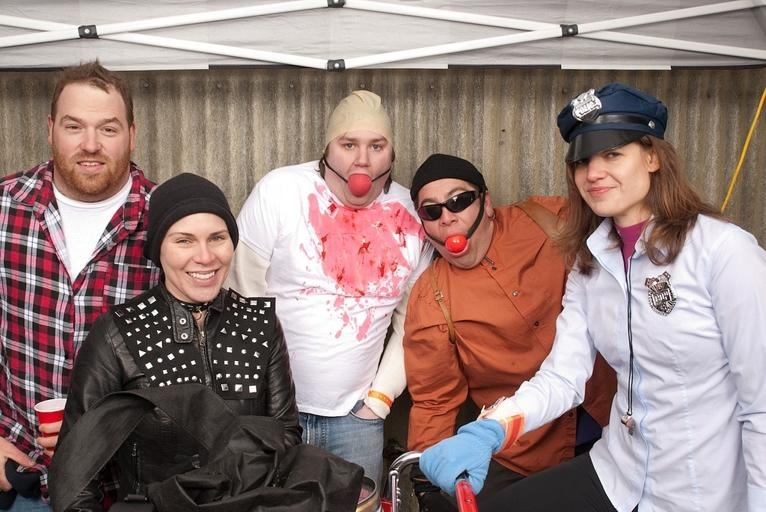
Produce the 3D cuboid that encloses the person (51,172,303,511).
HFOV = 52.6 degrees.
[{"bbox_3d":[-0.993,0.455,3.772,1.141,1.676,0.707,-4,11,-22],"label":"person"}]

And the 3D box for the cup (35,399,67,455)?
[{"bbox_3d":[-1.588,0.771,3.714,0.119,0.121,0.125,3,12,-1],"label":"cup"}]

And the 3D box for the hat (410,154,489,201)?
[{"bbox_3d":[0.411,-0.439,4.801,0.433,0.214,0.381,8,-19,15],"label":"hat"}]

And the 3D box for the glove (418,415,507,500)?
[{"bbox_3d":[0.409,0.974,3.790,0.412,0.327,0.233,-5,11,-27],"label":"glove"}]

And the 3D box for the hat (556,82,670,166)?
[{"bbox_3d":[1.167,-0.660,4.007,0.549,0.312,0.668,-13,-6,33],"label":"hat"}]

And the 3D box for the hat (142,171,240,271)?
[{"bbox_3d":[-1.000,-0.174,3.995,0.463,0.405,0.464,-3,-4,-19],"label":"hat"}]

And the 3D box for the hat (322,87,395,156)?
[{"bbox_3d":[-0.153,-0.894,5.027,0.487,0.378,0.476,-8,12,-42],"label":"hat"}]
